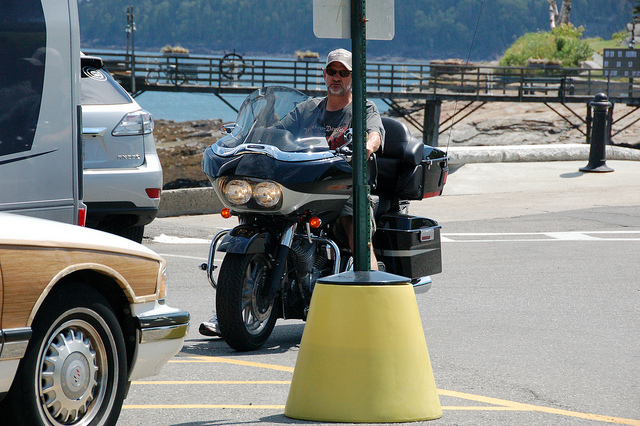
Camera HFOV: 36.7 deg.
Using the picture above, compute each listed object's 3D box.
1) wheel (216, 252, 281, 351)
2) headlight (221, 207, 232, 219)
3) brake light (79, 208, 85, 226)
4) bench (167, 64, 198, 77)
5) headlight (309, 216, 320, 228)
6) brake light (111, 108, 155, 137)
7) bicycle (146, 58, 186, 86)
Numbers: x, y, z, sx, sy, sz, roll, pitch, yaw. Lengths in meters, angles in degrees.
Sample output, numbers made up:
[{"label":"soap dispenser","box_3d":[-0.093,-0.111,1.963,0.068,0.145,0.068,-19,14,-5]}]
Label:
[{"label":"wheel","box_3d":[-0.652,0.769,8.752,0.605,0.874,0.212,-6,11,-40]},{"label":"headlight","box_3d":[-0.890,-0.005,9.006,0.071,0.086,0.034,-4,-6,-41]},{"label":"brake light","box_3d":[-2.039,0.019,8.242,0.045,0.133,0.240,-1,9,-14]},{"label":"bench","box_3d":[-6.254,-6.409,43.789,1.434,0.546,1.011,-2,6,0]},{"label":"headlight","box_3d":[-0.054,0.071,8.839,0.092,0.091,0.128,0,9,-5]},{"label":"brake light","box_3d":[-2.100,-1.020,10.961,0.246,0.287,0.644,4,9,19]},{"label":"bicycle","box_3d":[-7.066,-6.429,44.342,1.957,1.177,0.911,4,12,15]}]
